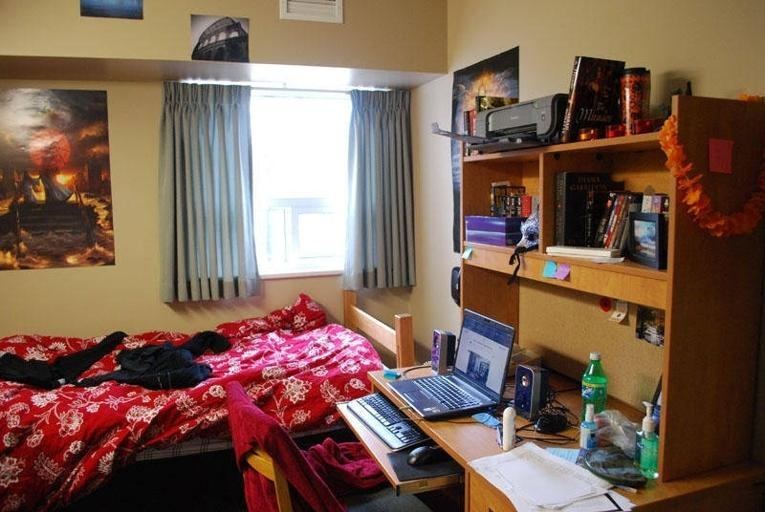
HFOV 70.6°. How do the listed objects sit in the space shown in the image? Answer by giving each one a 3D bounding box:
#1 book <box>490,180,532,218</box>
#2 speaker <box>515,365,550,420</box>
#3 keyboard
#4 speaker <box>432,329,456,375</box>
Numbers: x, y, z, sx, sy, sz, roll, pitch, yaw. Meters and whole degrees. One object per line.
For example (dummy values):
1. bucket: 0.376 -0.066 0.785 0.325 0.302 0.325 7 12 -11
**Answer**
1. book: 0.675 -0.296 2.845 0.212 0.196 0.200 -2 10 -11
2. speaker: 0.704 0.636 2.536 0.150 0.224 0.154 4 -1 -38
3. keyboard: 0.001 0.789 2.746 0.204 0.051 0.368 -3 10 -23
4. speaker: 0.333 0.525 2.950 0.150 0.203 0.150 5 -1 -43
